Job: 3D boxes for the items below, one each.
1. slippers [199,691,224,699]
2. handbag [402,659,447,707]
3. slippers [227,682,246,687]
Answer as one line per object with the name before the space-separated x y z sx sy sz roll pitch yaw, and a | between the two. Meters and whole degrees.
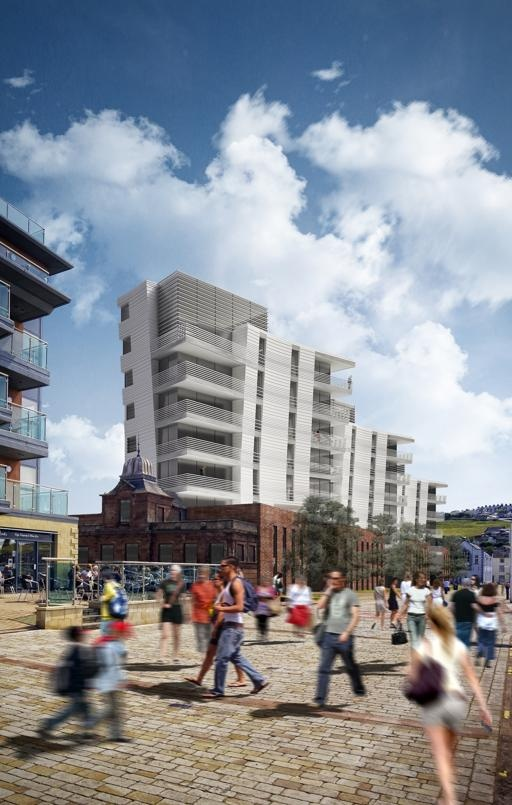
slippers | -0.540 3.541 9.202 0.254 0.086 0.130 0 -15 15
handbag | 1.138 1.892 5.135 0.254 0.305 0.162 0 -8 10
slippers | -0.247 3.705 10.002 0.221 0.074 0.111 6 -15 -3
